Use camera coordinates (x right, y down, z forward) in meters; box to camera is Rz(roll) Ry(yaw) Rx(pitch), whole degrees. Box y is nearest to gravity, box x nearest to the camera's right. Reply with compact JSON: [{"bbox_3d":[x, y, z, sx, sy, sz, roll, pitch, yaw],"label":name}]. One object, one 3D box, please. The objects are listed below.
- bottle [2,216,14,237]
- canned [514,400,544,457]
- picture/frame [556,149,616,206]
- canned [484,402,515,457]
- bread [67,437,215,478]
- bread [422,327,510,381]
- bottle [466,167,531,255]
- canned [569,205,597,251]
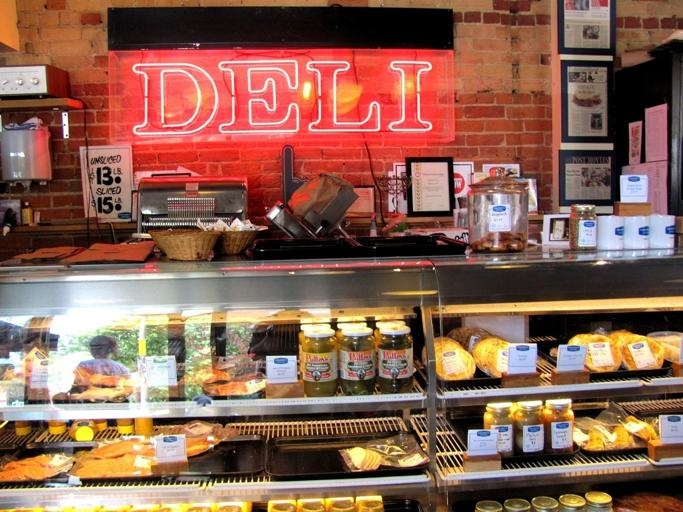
[{"bbox_3d":[-2.386,-0.216,4.384,0.089,0.107,0.143,-8,6,-26],"label":"bottle"},{"bbox_3d":[0.801,0.772,2.730,0.162,0.207,0.158,-2,-10,35],"label":"canned"},{"bbox_3d":[1.861,-0.577,4.628,0.042,0.433,0.524,-9,11,-28],"label":"picture/frame"},{"bbox_3d":[0.666,0.775,2.715,0.166,0.201,0.141,7,-10,-10],"label":"canned"},{"bbox_3d":[-0.903,0.871,2.627,0.376,0.048,0.204,-3,3,-7],"label":"bread"},{"bbox_3d":[0.547,0.429,2.601,0.317,0.070,0.268,-1,15,4],"label":"bread"},{"bbox_3d":[0.758,-0.205,3.020,0.342,0.350,0.319,1,3,16],"label":"bottle"},{"bbox_3d":[1.130,-0.137,2.891,0.130,0.206,0.154,-4,5,19],"label":"canned"}]
